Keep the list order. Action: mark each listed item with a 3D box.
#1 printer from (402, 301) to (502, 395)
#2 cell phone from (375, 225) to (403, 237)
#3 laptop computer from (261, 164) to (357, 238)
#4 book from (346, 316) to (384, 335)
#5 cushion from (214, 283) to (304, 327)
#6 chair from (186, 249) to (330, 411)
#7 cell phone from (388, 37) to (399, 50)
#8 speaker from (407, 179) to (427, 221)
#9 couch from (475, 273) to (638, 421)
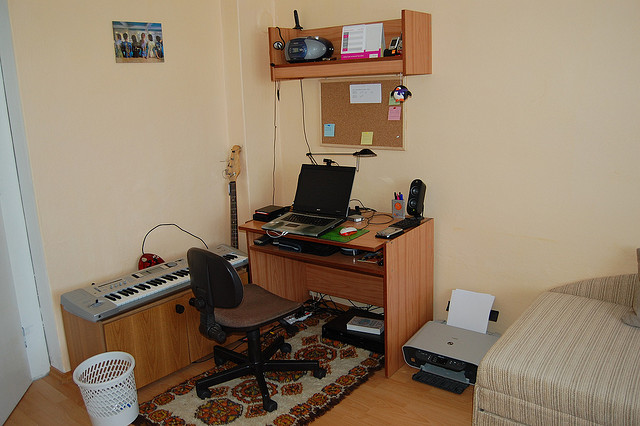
[{"bbox_3d":[1.005,1.021,3.453,0.718,0.271,0.710,-6,16,17],"label":"printer"},{"bbox_3d":[0.501,0.133,3.345,0.088,0.031,0.123,7,17,35],"label":"cell phone"},{"bbox_3d":[-0.066,-0.126,3.619,0.552,0.445,0.595,10,21,28],"label":"laptop computer"},{"bbox_3d":[0.380,0.901,3.776,0.313,0.070,0.215,5,18,16],"label":"book"},{"bbox_3d":[-0.494,0.671,3.251,0.519,0.062,0.502,14,22,39],"label":"cushion"},{"bbox_3d":[-0.495,0.747,3.316,0.905,1.028,0.903,-7,12,-38],"label":"chair"},{"bbox_3d":[0.558,-1.263,3.457,0.028,0.094,0.105,6,15,-29],"label":"cell phone"},{"bbox_3d":[0.799,-0.109,3.637,0.218,0.315,0.124,-17,25,-40],"label":"speaker"},{"bbox_3d":[1.528,0.588,2.784,0.956,0.599,1.008,-14,11,-43],"label":"couch"}]
